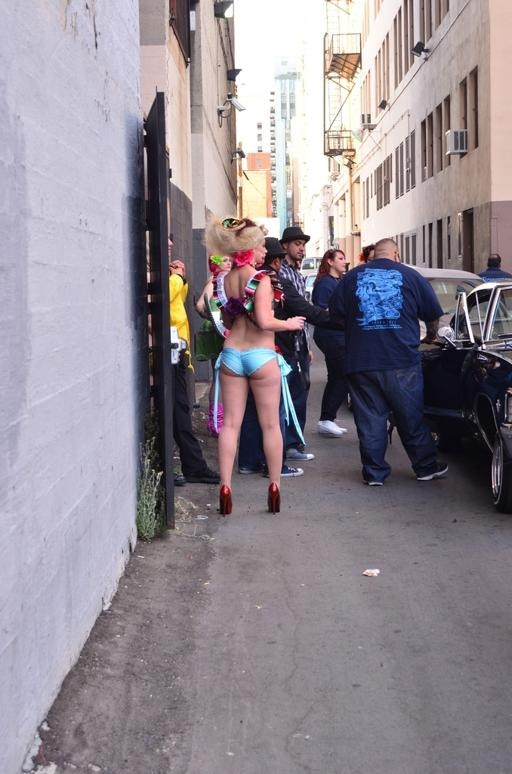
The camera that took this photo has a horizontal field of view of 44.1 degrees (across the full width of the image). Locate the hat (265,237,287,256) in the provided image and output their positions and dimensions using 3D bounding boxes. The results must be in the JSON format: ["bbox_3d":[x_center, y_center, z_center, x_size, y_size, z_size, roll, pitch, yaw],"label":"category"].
[{"bbox_3d":[0.202,-1.357,6.235,0.197,0.116,0.246,6,20,35],"label":"hat"}]

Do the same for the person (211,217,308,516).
[{"bbox_3d":[-0.029,-0.172,4.942,0.683,2.336,0.804,0,1,-6],"label":"person"}]

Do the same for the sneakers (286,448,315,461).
[{"bbox_3d":[0.524,0.766,7.179,0.334,0.167,0.126,3,2,-10],"label":"sneakers"}]

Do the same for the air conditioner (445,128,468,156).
[{"bbox_3d":[6.859,-8.389,21.508,0.679,0.968,0.885,0,1,20],"label":"air conditioner"}]

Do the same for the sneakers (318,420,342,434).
[{"bbox_3d":[1.031,0.525,8.657,0.251,0.136,0.168,2,8,10],"label":"sneakers"}]

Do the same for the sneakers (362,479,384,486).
[{"bbox_3d":[1.106,0.883,5.941,0.166,0.091,0.064,-6,-10,43],"label":"sneakers"}]

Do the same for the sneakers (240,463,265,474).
[{"bbox_3d":[-0.039,0.853,6.597,0.260,0.139,0.103,6,-6,-25],"label":"sneakers"}]
